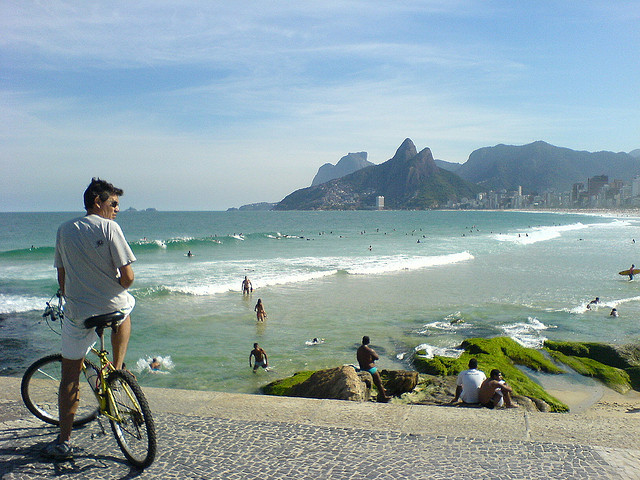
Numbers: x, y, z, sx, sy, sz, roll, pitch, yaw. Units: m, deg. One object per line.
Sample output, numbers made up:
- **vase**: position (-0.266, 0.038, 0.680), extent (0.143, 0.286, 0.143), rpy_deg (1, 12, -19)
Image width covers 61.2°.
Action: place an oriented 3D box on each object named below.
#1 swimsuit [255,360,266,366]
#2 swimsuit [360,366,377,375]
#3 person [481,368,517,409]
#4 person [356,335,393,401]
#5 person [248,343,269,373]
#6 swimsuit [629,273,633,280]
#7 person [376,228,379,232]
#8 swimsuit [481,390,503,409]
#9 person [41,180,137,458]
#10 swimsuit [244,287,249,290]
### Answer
- **swimsuit**: position (-1.745, 3.654, 16.045), extent (0.214, 0.103, 0.156), rpy_deg (-6, 1, -13)
- **swimsuit**: position (1.126, 2.939, 12.137), extent (0.345, 0.092, 0.391), rpy_deg (1, 5, 12)
- **person**: position (3.424, 2.778, 10.139), extent (0.665, 0.683, 0.416), rpy_deg (-8, -4, 12)
- **person**: position (1.285, 2.843, 12.396), extent (0.768, 1.145, 1.923), rpy_deg (0, 5, 3)
- **person**: position (-1.829, 3.459, 16.163), extent (0.591, 0.828, 0.607), rpy_deg (-2, 6, -13)
- **swimsuit**: position (18.099, 2.092, 30.933), extent (0.171, 0.393, 0.564), rpy_deg (3, 6, 29)
- **person**: position (11.304, -1.883, 102.582), extent (0.280, 0.926, 0.323), rpy_deg (-1, -20, 41)
- **swimsuit**: position (3.300, 2.993, 10.096), extent (0.457, 0.248, 0.202), rpy_deg (-35, -31, 11)
- **person**: position (-2.745, 0.909, 6.422), extent (1.050, 3.242, 0.701), rpy_deg (-3, 6, -27)
- **swimsuit**: position (-3.693, 2.437, 27.222), extent (0.188, 0.095, 0.080), rpy_deg (-3, 6, -27)
